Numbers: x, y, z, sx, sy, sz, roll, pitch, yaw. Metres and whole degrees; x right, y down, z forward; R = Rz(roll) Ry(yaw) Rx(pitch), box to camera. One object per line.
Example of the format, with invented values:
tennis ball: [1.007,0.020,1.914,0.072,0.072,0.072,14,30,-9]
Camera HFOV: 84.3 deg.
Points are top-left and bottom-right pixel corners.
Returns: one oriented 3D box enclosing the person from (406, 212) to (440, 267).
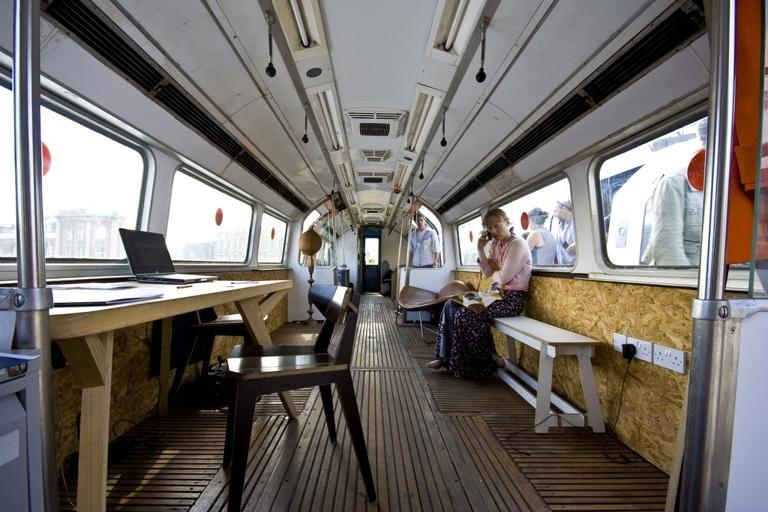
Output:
person: [0.733,-0.050,8.079,0.576,1.517,0.341,2,12,33]

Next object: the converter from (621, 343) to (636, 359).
converter: [1.898,0.731,3.274,0.082,0.103,0.104,6,5,15]

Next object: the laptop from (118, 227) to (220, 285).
laptop: [-1.791,0.012,3.437,0.493,0.337,0.514,7,0,2]

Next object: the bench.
bench: [1.512,1.025,3.980,0.585,0.911,1.211,0,12,-4]

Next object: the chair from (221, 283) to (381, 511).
chair: [-0.579,0.891,3.421,1.223,1.703,1.245,6,0,-17]

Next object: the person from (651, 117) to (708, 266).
person: [2.241,-0.453,3.201,0.130,1.111,0.388,-2,12,-14]

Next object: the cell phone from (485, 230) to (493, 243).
cell phone: [1.306,-0.268,5.323,0.089,0.112,0.120,0,0,3]

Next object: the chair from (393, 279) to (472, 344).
chair: [0.831,0.849,6.910,1.271,0.849,1.414,1,4,4]
